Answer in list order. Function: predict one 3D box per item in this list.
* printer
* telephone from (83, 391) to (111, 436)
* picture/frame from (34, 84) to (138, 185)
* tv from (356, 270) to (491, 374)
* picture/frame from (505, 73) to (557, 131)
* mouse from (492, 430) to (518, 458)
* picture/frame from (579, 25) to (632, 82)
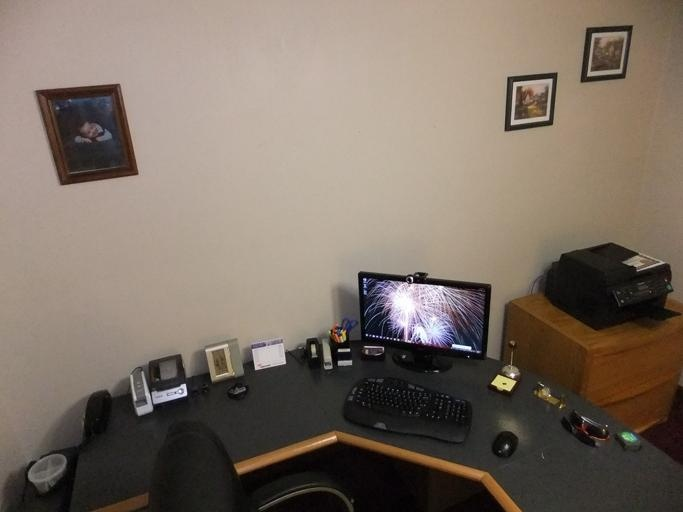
[{"bbox_3d":[1.647,0.189,3.240,0.451,0.380,0.627,-12,25,-20],"label":"printer"},{"bbox_3d":[-1.268,0.824,2.738,0.071,0.218,0.150,4,0,11],"label":"telephone"},{"bbox_3d":[-1.291,-0.617,2.598,0.389,0.507,0.052,-13,20,-16],"label":"picture/frame"},{"bbox_3d":[0.451,0.393,2.914,0.485,0.369,0.150,6,19,22],"label":"tv"},{"bbox_3d":[1.169,-0.966,3.253,0.316,0.290,0.022,-11,24,-18],"label":"picture/frame"},{"bbox_3d":[0.773,0.883,2.451,0.121,0.066,0.129,3,21,16],"label":"mouse"},{"bbox_3d":[1.703,-1.286,3.348,0.349,0.324,0.025,-8,21,-13],"label":"picture/frame"}]
